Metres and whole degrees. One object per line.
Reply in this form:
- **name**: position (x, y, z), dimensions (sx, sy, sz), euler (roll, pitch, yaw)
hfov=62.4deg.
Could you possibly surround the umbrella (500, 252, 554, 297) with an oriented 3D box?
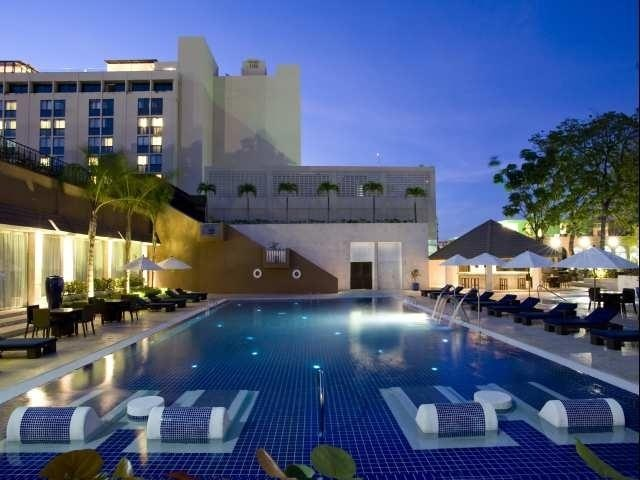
- **umbrella**: position (10.740, 1.898, 28.142), dimensions (2.259, 2.047, 2.247), euler (0, 2, 29)

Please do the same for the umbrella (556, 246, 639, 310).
- **umbrella**: position (9.084, 1.614, 18.164), dimensions (2.357, 1.835, 2.445), euler (-1, 3, 6)

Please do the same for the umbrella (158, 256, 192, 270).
- **umbrella**: position (-6.625, 1.113, 24.219), dimensions (0.925, 0.501, 1.907), euler (0, 1, 16)

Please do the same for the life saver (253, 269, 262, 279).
- **life saver**: position (-3.545, 1.920, 30.225), dimensions (0.493, 0.539, 0.121), euler (0, -2, -6)

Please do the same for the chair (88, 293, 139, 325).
- **chair**: position (-7.322, 2.467, 18.877), dimensions (1.246, 0.618, 1.298), euler (0, -1, -8)

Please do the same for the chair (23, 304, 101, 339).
- **chair**: position (-7.715, 2.445, 16.099), dimensions (1.707, 1.025, 2.242), euler (0, 1, 34)

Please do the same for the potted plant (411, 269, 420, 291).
- **potted plant**: position (5.693, 2.413, 32.143), dimensions (0.482, 1.196, 0.750), euler (0, 1, 12)
